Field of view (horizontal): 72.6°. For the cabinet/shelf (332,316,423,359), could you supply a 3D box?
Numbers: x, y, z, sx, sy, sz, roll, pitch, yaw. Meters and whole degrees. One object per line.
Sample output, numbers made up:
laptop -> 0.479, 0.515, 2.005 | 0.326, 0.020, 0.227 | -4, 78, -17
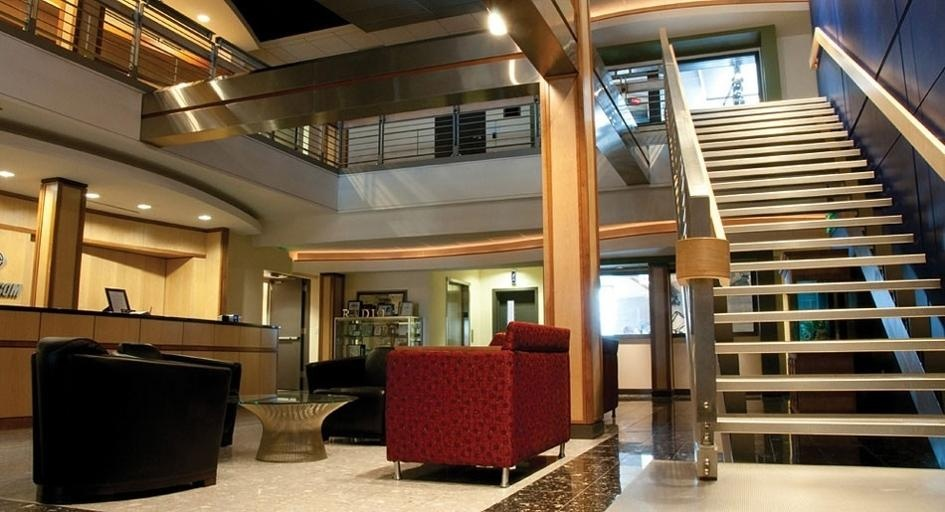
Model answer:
cabinet/shelf -> -2.115, 1.768, 14.084 | 1.753, 1.238, 0.555 | 0, -2, 6

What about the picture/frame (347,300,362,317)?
picture/frame -> -2.955, 1.330, 16.203 | 0.423, 0.473, 0.054 | -5, -21, 13

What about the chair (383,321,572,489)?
chair -> 0.218, 1.725, 7.808 | 1.541, 1.488, 2.633 | -5, -11, 21

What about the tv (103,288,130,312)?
tv -> -6.167, 0.764, 11.110 | 0.332, 0.486, 0.463 | -12, -7, 22

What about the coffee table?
coffee table -> -2.101, 1.980, 7.490 | 1.017, 0.404, 0.947 | -1, -5, 17

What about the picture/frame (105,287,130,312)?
picture/frame -> -6.126, 0.756, 11.069 | 0.301, 0.468, 0.418 | -13, -7, 22
